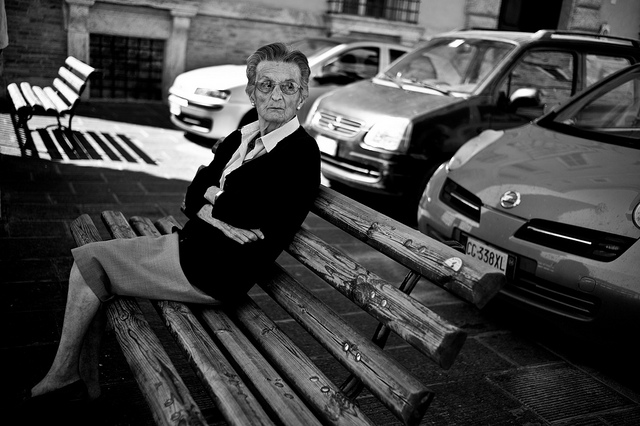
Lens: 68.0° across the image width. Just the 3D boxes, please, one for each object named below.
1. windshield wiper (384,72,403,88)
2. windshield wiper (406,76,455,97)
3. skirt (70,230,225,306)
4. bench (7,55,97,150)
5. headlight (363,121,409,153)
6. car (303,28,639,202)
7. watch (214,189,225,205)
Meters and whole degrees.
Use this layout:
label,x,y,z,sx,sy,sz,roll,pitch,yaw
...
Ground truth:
label,x,y,z,sx,sy,sz,roll,pitch,yaw
windshield wiper,1.067,-1.959,6.938,0.037,0.089,0.652,0,26,-16
windshield wiper,1.532,-1.741,6.500,0.679,0.080,0.097,35,28,28
skirt,-1.050,0.350,2.776,0.644,0.446,0.519,-6,26,-11
bench,-4.431,-1.794,7.695,1.118,1.076,1.906,-4,23,-30
headlight,0.836,-0.969,5.914,0.509,0.384,0.455,5,24,22
car,2.077,-1.575,6.777,3.935,1.796,2.492,-9,18,-31
watch,-0.570,-0.093,2.734,0.017,0.061,0.062,41,23,-5
